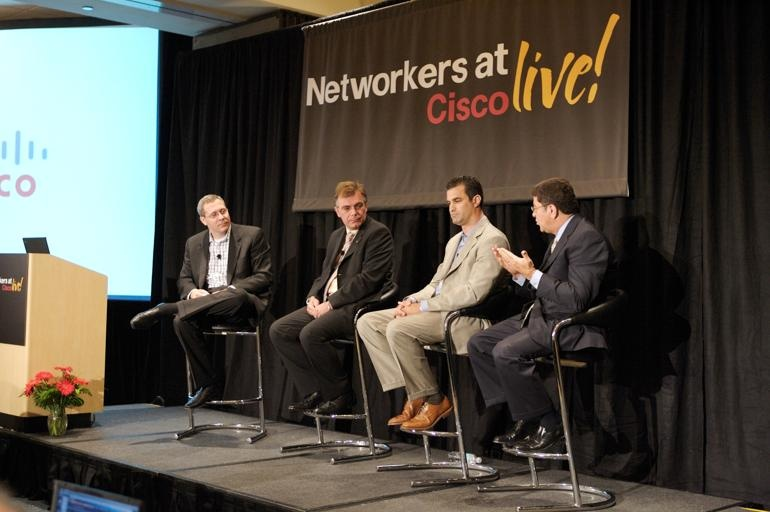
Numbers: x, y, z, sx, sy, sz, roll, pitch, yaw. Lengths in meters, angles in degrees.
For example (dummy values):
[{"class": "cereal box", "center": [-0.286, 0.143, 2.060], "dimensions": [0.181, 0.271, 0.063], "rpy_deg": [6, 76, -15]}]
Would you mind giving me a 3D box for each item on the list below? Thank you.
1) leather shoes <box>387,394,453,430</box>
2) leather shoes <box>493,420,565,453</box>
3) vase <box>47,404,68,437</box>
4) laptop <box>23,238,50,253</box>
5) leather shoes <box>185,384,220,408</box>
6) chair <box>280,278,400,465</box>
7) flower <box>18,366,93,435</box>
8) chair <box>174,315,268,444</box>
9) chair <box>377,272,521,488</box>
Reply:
[{"class": "leather shoes", "center": [0.247, 1.072, 5.010], "dimensions": [0.310, 0.138, 0.246], "rpy_deg": [-17, -2, -19]}, {"class": "leather shoes", "center": [0.888, 1.100, 4.499], "dimensions": [0.303, 0.132, 0.189], "rpy_deg": [3, -9, -18]}, {"class": "vase", "center": [-2.456, 1.229, 5.545], "dimensions": [0.138, 0.225, 0.124], "rpy_deg": [-1, -3, -15]}, {"class": "laptop", "center": [-2.729, -0.082, 5.814], "dimensions": [0.136, 0.139, 0.230], "rpy_deg": [1, -4, -38]}, {"class": "leather shoes", "center": [-1.410, 1.082, 5.742], "dimensions": [0.223, 0.166, 0.246], "rpy_deg": [-1, -3, -13]}, {"class": "chair", "center": [-0.362, 0.913, 5.339], "dimensions": [0.623, 0.976, 0.651], "rpy_deg": [-8, -2, -2]}, {"class": "flower", "center": [-2.446, 1.092, 5.618], "dimensions": [0.502, 0.503, 0.394], "rpy_deg": [1, -3, -37]}, {"class": "chair", "center": [-1.294, 0.939, 6.009], "dimensions": [0.628, 1.010, 0.587], "rpy_deg": [-3, 13, 11]}, {"class": "chair", "center": [0.526, 0.830, 5.068], "dimensions": [0.760, 1.261, 0.724], "rpy_deg": [1, -1, -11]}]
